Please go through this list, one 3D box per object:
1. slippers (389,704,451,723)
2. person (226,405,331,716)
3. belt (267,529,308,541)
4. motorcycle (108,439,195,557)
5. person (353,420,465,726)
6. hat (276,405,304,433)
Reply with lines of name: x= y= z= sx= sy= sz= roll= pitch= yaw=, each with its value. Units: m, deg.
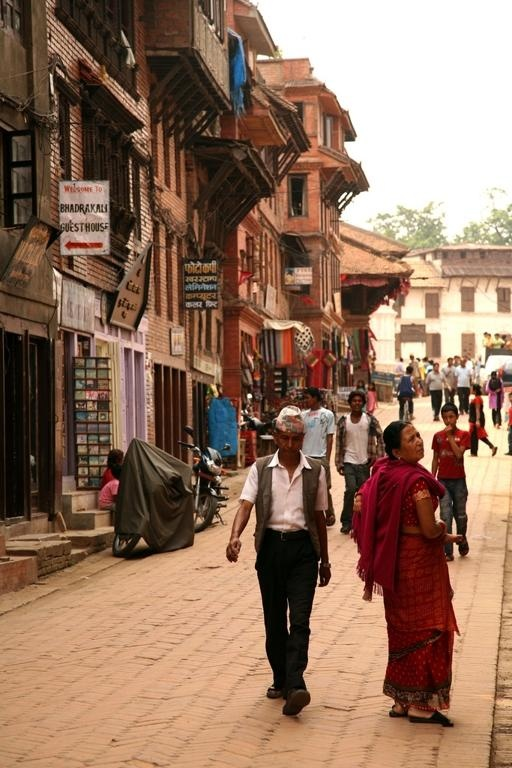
slippers: x=0.761 y=1.548 z=4.752 sx=0.254 sy=0.063 sz=0.101 roll=-1 pitch=0 yaw=14
person: x=0.104 y=0.866 z=5.143 sx=0.495 sy=1.522 sz=0.799 roll=-3 pitch=0 yaw=8
belt: x=0.161 y=0.761 z=5.208 sx=0.207 sy=0.049 sz=0.075 roll=-3 pitch=0 yaw=-6
motorcycle: x=-1.344 y=1.503 z=13.001 sx=0.714 sy=1.397 sz=1.206 roll=-5 pitch=-10 yaw=39
person: x=0.690 y=0.877 z=4.808 sx=0.288 sy=1.350 sz=0.492 roll=-3 pitch=0 yaw=-44
hat: x=0.174 y=0.172 z=5.141 sx=0.103 sy=0.123 sz=0.146 roll=2 pitch=-11 yaw=-2
